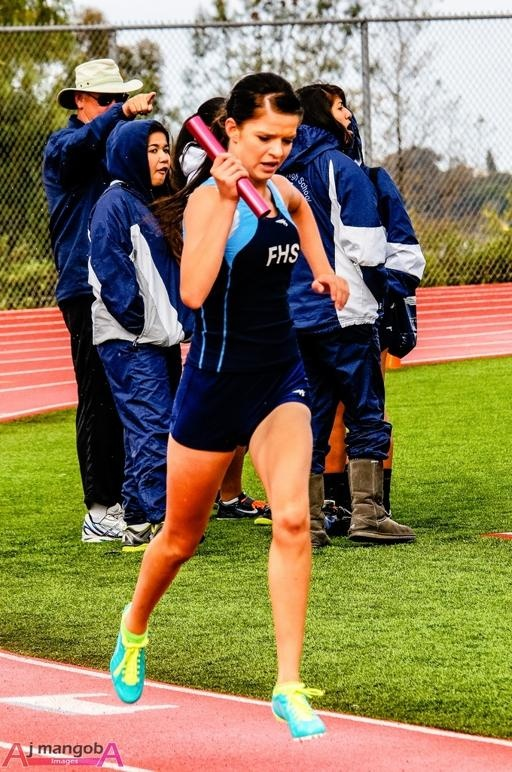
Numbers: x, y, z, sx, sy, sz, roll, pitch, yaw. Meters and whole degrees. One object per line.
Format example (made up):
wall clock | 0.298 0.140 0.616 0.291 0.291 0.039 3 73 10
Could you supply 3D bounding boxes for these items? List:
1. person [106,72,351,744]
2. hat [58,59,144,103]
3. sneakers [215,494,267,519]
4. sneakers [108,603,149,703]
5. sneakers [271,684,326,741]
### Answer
person | -0.088 0.021 2.486 0.630 1.571 0.844 -2 4 6
hat | -0.807 -1.484 5.083 0.342 0.177 0.386 -8 6 -38
sneakers | -0.077 0.595 5.044 0.281 0.126 0.104 -1 -2 -5
sneakers | -0.332 0.691 2.621 0.081 0.248 0.099 3 -28 -15
sneakers | 0.088 0.687 2.151 0.069 0.096 0.137 -4 5 -17
